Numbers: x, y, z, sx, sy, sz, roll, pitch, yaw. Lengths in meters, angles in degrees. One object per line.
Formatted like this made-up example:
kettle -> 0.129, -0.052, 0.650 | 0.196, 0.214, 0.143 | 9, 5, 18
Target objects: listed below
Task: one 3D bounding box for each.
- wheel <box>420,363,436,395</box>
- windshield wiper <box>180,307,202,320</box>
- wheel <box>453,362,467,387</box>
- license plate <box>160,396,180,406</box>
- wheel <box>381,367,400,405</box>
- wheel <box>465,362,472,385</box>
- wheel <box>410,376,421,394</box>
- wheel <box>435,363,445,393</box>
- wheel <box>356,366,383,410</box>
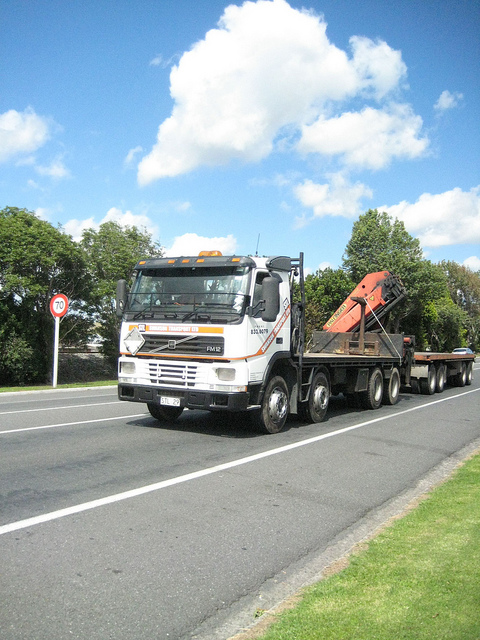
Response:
wheel -> 7.030, 2.201, 17.976 | 0.305, 1.185, 1.084 | 0, -3, 26
windshield wiper -> -0.867, -0.088, 8.162 | 0.343, 0.050, 0.051 | -33, -14, -9
wheel -> 10.161, 2.517, 22.161 | 0.328, 1.151, 1.042 | 3, 5, 31
license plate -> -1.187, 1.366, 8.152 | 0.397, 0.138, 0.020 | -1, -3, 31
wheel -> 4.490, 1.975, 14.381 | 0.329, 1.167, 1.067 | 0, -3, 28
wheel -> 11.075, 2.557, 23.222 | 0.324, 1.123, 1.024 | -4, -6, 31
wheel -> 6.659, 2.435, 18.107 | 0.180, 0.643, 0.614 | -4, -22, 19
wheel -> 7.936, 2.272, 19.039 | 0.340, 1.213, 1.106 | -2, -2, 28
wheel -> 3.578, 1.871, 13.355 | 0.425, 1.169, 1.269 | 0, -4, 35
